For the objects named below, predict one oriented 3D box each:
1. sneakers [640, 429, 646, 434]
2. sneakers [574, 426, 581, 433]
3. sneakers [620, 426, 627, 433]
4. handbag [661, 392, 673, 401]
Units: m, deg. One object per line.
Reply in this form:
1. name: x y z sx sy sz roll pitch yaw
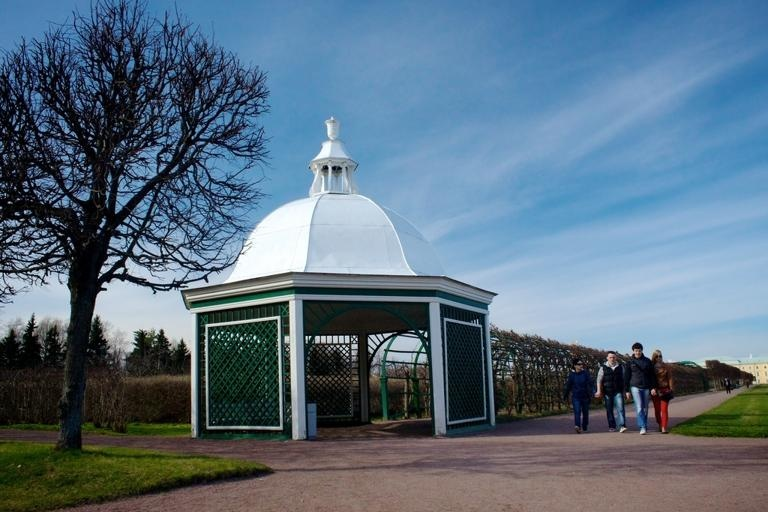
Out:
1. sneakers: 6.455 4.400 15.636 0.160 0.178 0.102 -1 -7 27
2. sneakers: 5.270 4.746 17.113 0.093 0.126 0.304 -10 -59 18
3. sneakers: 6.333 4.641 16.645 0.125 0.091 0.200 -23 -13 9
4. handbag: 7.175 3.587 16.051 0.298 0.245 0.316 0 -9 -5
